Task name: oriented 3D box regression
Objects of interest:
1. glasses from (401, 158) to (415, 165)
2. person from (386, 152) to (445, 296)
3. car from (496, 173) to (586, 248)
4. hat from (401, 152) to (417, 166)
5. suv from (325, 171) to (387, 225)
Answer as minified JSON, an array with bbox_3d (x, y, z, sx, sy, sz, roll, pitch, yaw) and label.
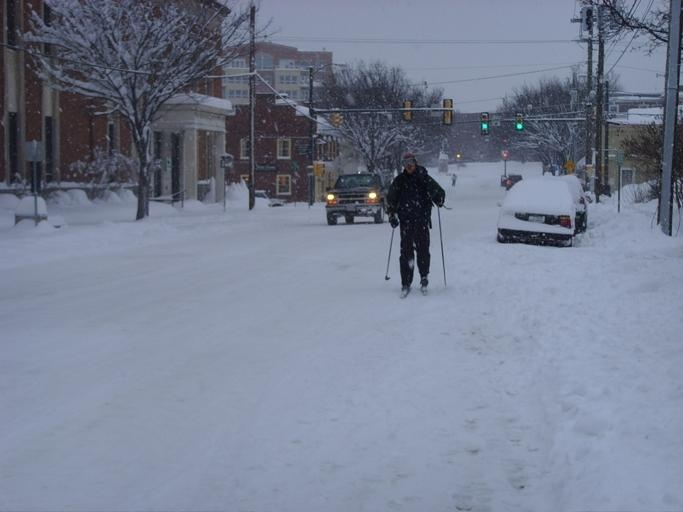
[{"bbox_3d":[1.126,-1.565,12.400,0.189,0.135,0.352,1,9,4],"label":"glasses"},{"bbox_3d":[1.241,-0.576,12.665,0.931,2.302,1.344,1,7,6],"label":"person"},{"bbox_3d":[4.810,-1.084,18.473,1.805,1.554,1.085,4,8,27],"label":"car"},{"bbox_3d":[1.109,-1.634,12.366,0.175,0.230,0.269,-8,-7,13],"label":"hat"},{"bbox_3d":[0.574,-2.281,30.328,2.278,2.114,1.658,0,7,-1],"label":"suv"}]
